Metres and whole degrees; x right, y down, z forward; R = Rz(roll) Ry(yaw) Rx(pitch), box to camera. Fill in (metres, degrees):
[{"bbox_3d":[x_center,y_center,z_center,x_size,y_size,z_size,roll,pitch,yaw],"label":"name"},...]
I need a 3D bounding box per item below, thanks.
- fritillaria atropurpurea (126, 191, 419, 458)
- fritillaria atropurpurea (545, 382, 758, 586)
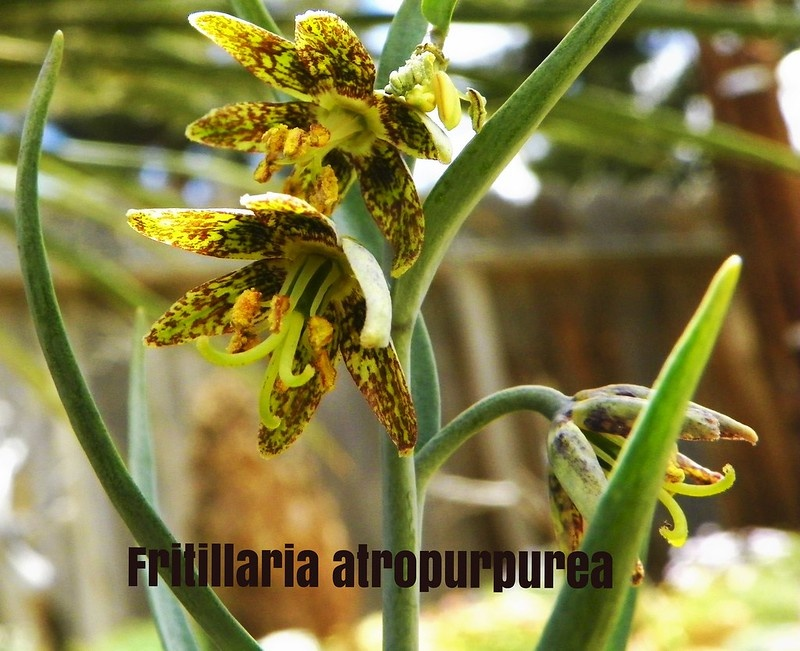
[{"bbox_3d":[-0.094,-0.029,1.316,0.316,0.306,0.145,-14,18,33],"label":"fritillaria atropurpurea"},{"bbox_3d":[0.237,0.183,1.345,0.261,0.197,0.244,-1,29,-11],"label":"fritillaria atropurpurea"}]
